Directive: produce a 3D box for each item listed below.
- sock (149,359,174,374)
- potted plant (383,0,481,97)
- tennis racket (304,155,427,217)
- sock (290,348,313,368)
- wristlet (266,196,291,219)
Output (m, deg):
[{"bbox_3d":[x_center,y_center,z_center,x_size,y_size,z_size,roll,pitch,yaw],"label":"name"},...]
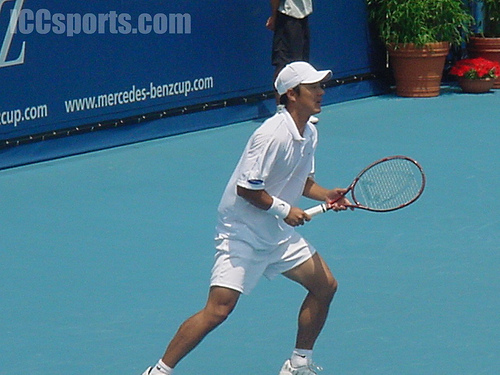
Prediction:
[{"bbox_3d":[-0.592,1.216,4.958,0.066,0.127,0.183,4,2,-38],"label":"sock"},{"bbox_3d":[2.859,-2.457,12.649,1.624,1.814,1.451,2,3,-16],"label":"potted plant"},{"bbox_3d":[1.067,0.014,6.665,1.263,0.431,0.093,-21,-18,-6],"label":"tennis racket"},{"bbox_3d":[0.364,1.216,5.201,0.145,0.154,0.100,7,-5,-7],"label":"sock"},{"bbox_3d":[0.212,0.144,4.995,0.119,0.115,0.153,9,-3,-5],"label":"wristlet"}]
